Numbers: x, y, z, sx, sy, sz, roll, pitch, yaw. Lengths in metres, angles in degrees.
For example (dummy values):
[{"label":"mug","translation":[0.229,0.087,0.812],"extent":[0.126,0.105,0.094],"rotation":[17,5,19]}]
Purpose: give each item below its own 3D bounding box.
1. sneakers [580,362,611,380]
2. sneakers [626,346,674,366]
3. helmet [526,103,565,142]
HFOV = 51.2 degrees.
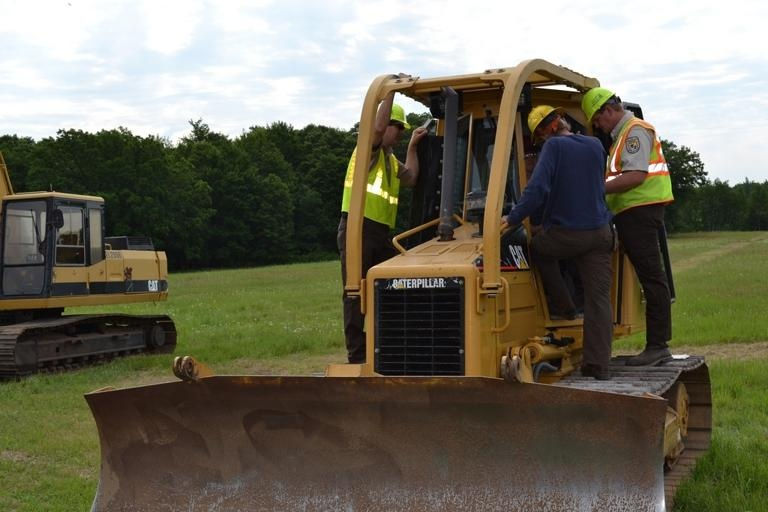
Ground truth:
[{"label":"sneakers","translation":[2.129,1.168,8.099],"extent":[0.122,0.167,0.298],"rotation":[2,7,-44]},{"label":"sneakers","translation":[2.917,1.095,8.894],"extent":[0.524,0.282,0.211],"rotation":[-3,-4,-19]},{"label":"helmet","translation":[1.691,-1.389,8.398],"extent":[0.372,0.206,0.305],"rotation":[-38,-7,-43]}]
